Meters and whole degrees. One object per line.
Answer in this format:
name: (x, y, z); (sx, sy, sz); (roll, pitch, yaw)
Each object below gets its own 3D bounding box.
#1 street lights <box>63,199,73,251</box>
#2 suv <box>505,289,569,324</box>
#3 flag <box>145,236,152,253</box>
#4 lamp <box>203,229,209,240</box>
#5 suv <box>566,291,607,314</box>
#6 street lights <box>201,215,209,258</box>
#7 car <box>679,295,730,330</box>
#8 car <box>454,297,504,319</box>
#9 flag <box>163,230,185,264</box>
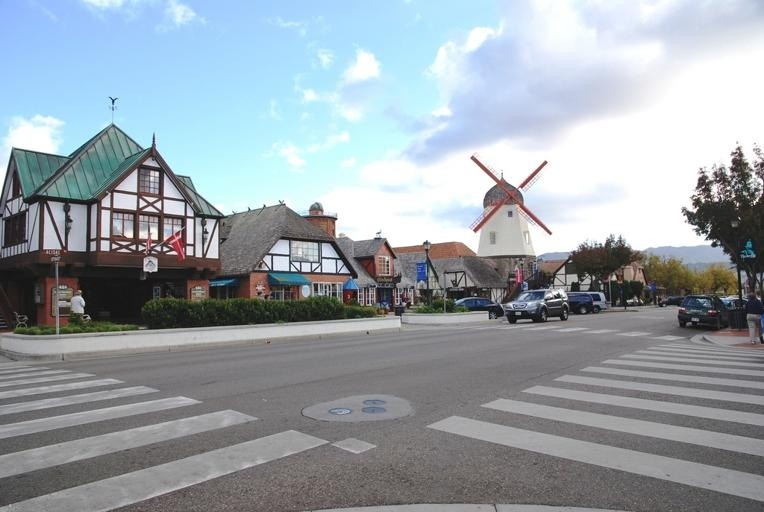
street lights: (-15.856, -1.460, 31.150); (0.290, 2.516, 0.753); (-1, 4, -8)
suv: (8.953, 2.875, 35.483); (1.822, 1.494, 3.739); (-7, -10, 37)
flag: (-12.407, -0.547, 32.917); (0.240, 0.903, 0.552); (-1, 4, 6)
lamp: (-10.247, -1.236, 35.796); (0.482, 0.649, 0.482); (-1, 5, -9)
suv: (16.834, 3.742, 49.712); (3.603, 1.348, 1.662); (1, -3, -17)
street lights: (-10.274, -1.075, 35.872); (0.297, 2.202, 0.746); (-1, 4, 5)
car: (15.900, 2.689, 30.337); (1.353, 1.200, 2.826); (-1, 3, 35)
car: (6.471, 3.399, 41.314); (3.316, 1.136, 1.493); (5, -6, -20)
flag: (-11.294, -0.536, 33.592); (1.032, 1.674, 2.299); (-2, 4, -18)
